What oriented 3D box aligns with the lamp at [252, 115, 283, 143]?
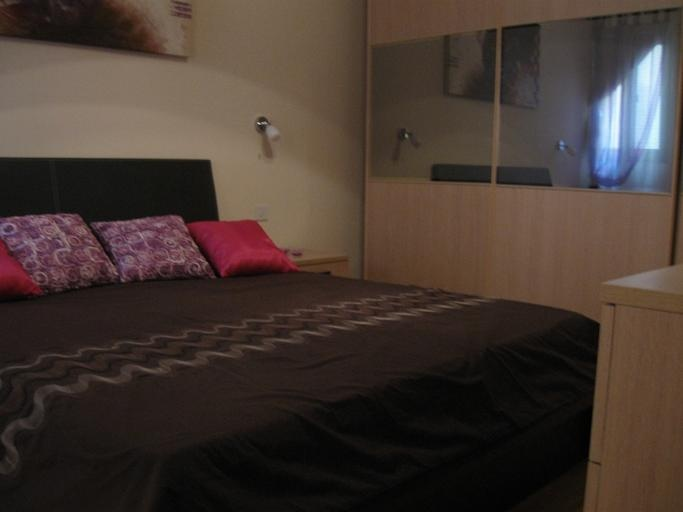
[{"bbox_3d":[-0.561,-0.991,3.942,0.205,0.205,0.186,-7,13,-36],"label":"lamp"}]
